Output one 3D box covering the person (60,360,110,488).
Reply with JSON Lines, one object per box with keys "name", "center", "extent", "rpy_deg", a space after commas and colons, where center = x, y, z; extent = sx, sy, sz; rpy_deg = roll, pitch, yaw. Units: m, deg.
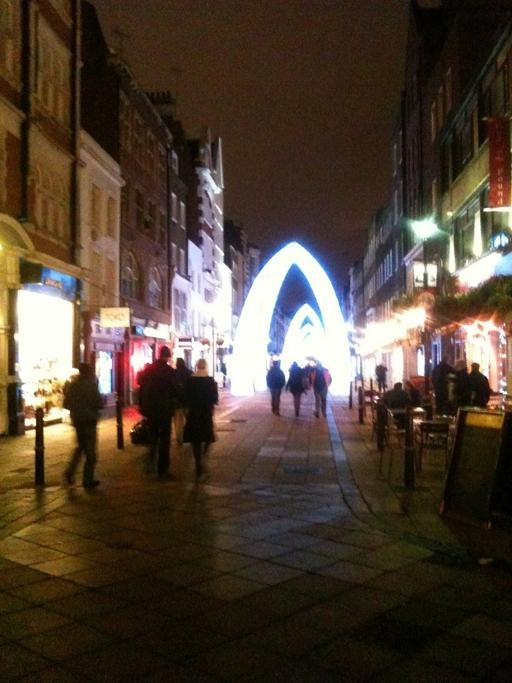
{"name": "person", "center": [-2.448, 1.145, 9.256], "extent": [0.511, 1.639, 2.058], "rpy_deg": [1, -2, -16]}
